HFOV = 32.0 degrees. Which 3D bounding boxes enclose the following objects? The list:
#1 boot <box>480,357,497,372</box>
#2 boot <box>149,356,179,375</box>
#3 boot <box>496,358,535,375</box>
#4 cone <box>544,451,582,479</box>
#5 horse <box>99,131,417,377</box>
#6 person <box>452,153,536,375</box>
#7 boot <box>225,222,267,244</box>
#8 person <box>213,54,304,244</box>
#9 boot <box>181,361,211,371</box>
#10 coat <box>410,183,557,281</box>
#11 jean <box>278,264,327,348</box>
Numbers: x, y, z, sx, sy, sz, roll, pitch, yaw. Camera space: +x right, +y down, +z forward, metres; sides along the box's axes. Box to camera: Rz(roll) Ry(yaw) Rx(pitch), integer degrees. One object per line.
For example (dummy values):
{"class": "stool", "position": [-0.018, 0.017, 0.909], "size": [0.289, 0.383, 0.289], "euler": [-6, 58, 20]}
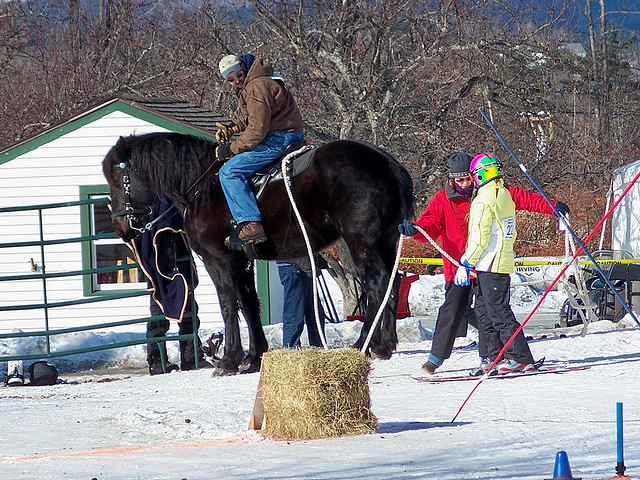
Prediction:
{"class": "boot", "position": [2.184, 1.658, 14.609], "size": [0.148, 0.118, 0.266], "euler": [-25, 9, 26]}
{"class": "boot", "position": [-2.308, 1.875, 16.704], "size": [0.383, 0.233, 0.276], "euler": [0, -4, 16]}
{"class": "boot", "position": [2.503, 1.632, 14.483], "size": [0.528, 0.217, 0.192], "euler": [2, 0, 4]}
{"class": "cone", "position": [2.420, 2.223, 11.068], "size": [0.291, 0.265, 0.231], "euler": [-1, 0, 7]}
{"class": "horse", "position": [-0.849, 0.077, 15.139], "size": [4.489, 3.271, 1.333], "euler": [-5, -6, 19]}
{"class": "person", "position": [2.214, 0.252, 14.449], "size": [1.211, 2.852, 1.048], "euler": [0, 0, 22]}
{"class": "boot", "position": [-0.985, -0.096, 14.555], "size": [0.588, 0.232, 0.200], "euler": [-1, 0, 40]}
{"class": "person", "position": [-0.882, -1.347, 14.762], "size": [0.976, 2.546, 1.010], "euler": [-9, 16, -39]}
{"class": "boot", "position": [-1.777, 1.843, 16.405], "size": [0.467, 0.188, 0.155], "euler": [-11, -10, 25]}
{"class": "coat", "position": [2.455, -0.100, 17.451], "size": [2.498, 1.324, 0.606], "euler": [-2, 4, 24]}
{"class": "jean", "position": [-0.257, 1.068, 16.236], "size": [0.417, 1.505, 0.648], "euler": [-22, -23, 37]}
